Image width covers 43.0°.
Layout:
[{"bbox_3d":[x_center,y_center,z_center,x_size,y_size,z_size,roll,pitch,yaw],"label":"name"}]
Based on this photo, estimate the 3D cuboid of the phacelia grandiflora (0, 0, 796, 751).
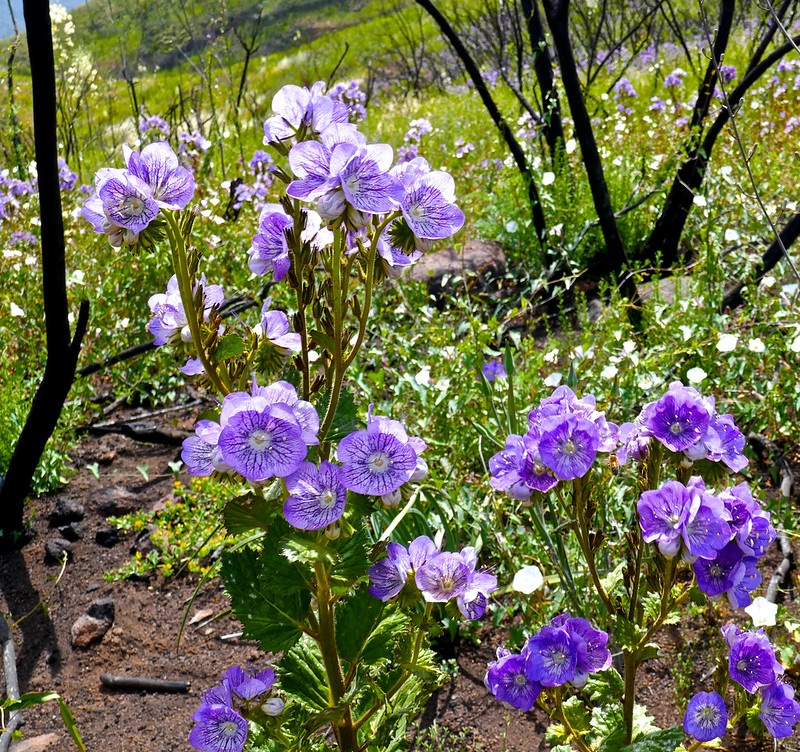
[{"bbox_3d":[0.055,0.364,2.567,1.605,1.979,0.854,-2,22,-15],"label":"phacelia grandiflora"}]
